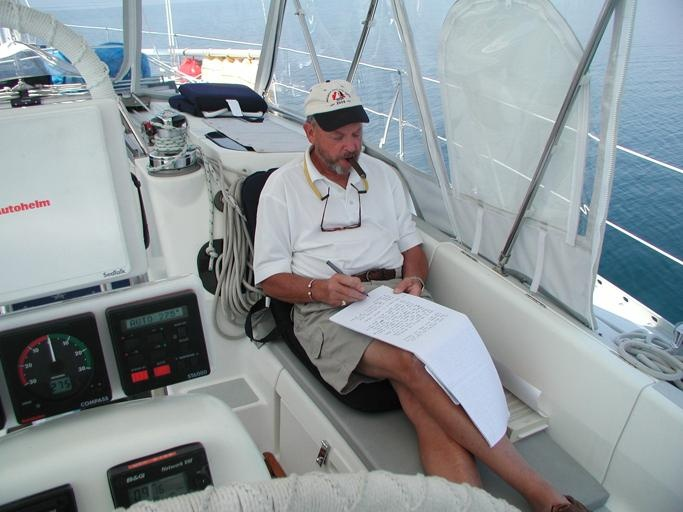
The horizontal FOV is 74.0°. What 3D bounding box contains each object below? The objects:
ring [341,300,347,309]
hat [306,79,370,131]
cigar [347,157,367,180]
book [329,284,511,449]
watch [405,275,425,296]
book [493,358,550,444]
[{"bbox_3d":[0.007,0.189,1.759,0.019,0.030,0.030,6,39,10],"label":"ring"},{"bbox_3d":[-0.026,-0.646,1.934,0.183,0.153,0.272,-14,30,-25],"label":"hat"},{"bbox_3d":[0.055,-0.379,1.935,0.041,0.043,0.161,-31,45,7],"label":"cigar"},{"bbox_3d":[0.260,0.277,1.586,0.349,0.204,0.704,-27,50,-38],"label":"book"},{"bbox_3d":[0.311,0.121,1.885,0.082,0.035,0.064,29,13,-4],"label":"watch"},{"bbox_3d":[0.659,0.549,1.697,0.196,0.087,0.227,-18,36,-20],"label":"book"}]
